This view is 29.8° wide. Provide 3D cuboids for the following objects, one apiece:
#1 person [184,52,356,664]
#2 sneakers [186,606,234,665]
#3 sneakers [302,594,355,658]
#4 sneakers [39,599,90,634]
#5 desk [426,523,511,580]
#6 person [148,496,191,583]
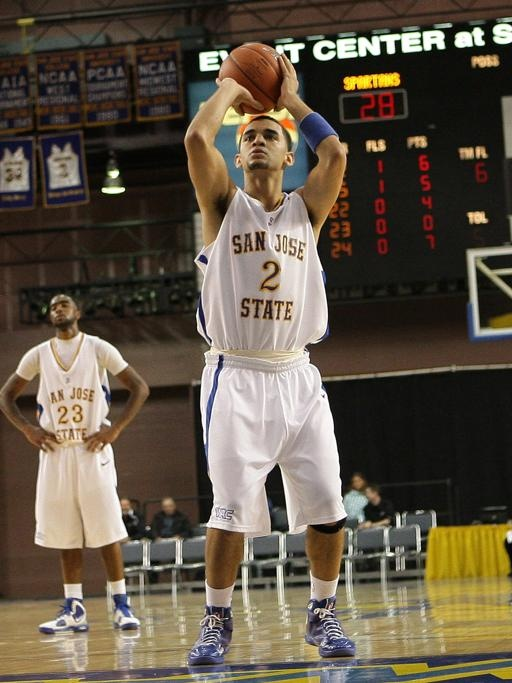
[{"bbox_3d":[0.048,0.014,3.764,0.686,2.109,0.541,-3,-1,2],"label":"person"},{"bbox_3d":[-0.174,1.111,3.602,0.154,0.188,0.280,-3,-1,2],"label":"sneakers"},{"bbox_3d":[0.288,1.111,3.756,0.128,0.194,0.346,5,-7,-19],"label":"sneakers"},{"bbox_3d":[-1.070,1.524,5.343,0.266,0.162,0.334,-2,-1,-13],"label":"sneakers"},{"bbox_3d":[2.245,2.238,10.210,0.883,0.549,0.419,-3,-1,10],"label":"desk"},{"bbox_3d":[-1.047,2.494,11.971,0.529,1.087,0.390,-5,7,-3],"label":"person"}]
